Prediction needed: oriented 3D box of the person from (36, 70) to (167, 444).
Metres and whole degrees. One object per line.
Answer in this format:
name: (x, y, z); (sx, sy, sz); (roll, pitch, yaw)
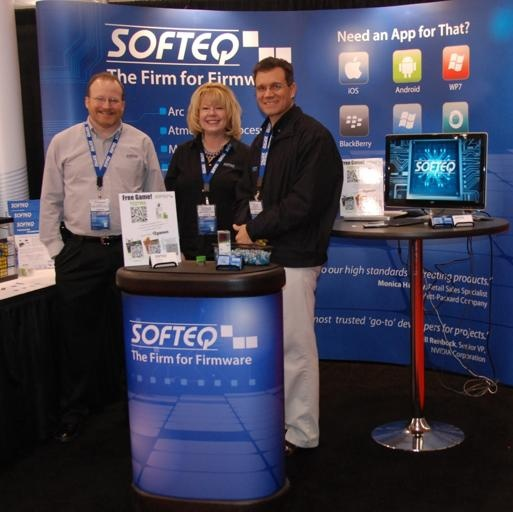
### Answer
person: (-0.828, -0.025, 2.769); (0.619, 1.857, 0.376); (-4, 6, -26)

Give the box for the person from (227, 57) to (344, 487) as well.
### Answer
person: (0.117, 0.015, 2.375); (0.493, 1.865, 0.519); (1, 6, 21)

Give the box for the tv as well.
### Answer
tv: (0.867, -0.374, 2.492); (0.449, 0.399, 0.049); (3, 4, 32)

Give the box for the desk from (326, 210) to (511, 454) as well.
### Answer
desk: (0.576, 0.355, 2.677); (0.943, 1.272, 0.973); (-1, 4, 2)

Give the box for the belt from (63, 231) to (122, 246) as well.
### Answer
belt: (-0.881, -0.095, 2.685); (0.343, 0.090, 0.103); (0, 6, 7)

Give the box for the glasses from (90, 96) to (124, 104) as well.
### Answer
glasses: (-0.761, -0.798, 2.648); (0.165, 0.033, 0.067); (-5, 8, -32)

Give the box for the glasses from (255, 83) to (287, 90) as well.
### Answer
glasses: (0.064, -0.768, 2.337); (0.126, 0.032, 0.034); (0, 6, 10)
